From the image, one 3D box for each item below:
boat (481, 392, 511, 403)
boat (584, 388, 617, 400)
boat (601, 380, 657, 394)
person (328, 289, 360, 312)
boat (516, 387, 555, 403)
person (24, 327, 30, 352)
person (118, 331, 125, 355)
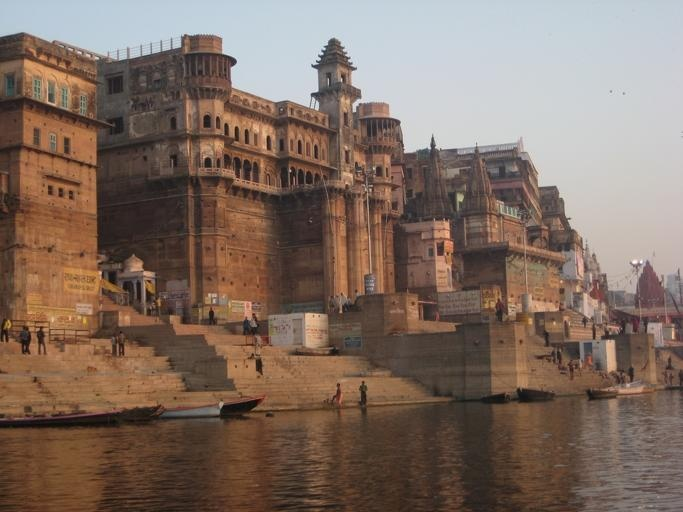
[{"bbox_3d":[8.137,7.329,65.896,1.575,0.684,2.151,-3,-11,6],"label":"boat"},{"bbox_3d":[14.773,7.697,71.388,0.713,0.610,2.949,-7,-14,42],"label":"boat"},{"bbox_3d":[17.431,7.854,76.925,0.813,0.633,3.500,-10,-10,41],"label":"boat"},{"bbox_3d":[0.108,3.057,84.779,1.705,1.072,1.268,-6,-7,41],"label":"person"},{"bbox_3d":[10.344,7.219,66.966,2.163,0.908,1.725,-1,-11,-5],"label":"boat"},{"bbox_3d":[-14.843,3.955,59.565,0.244,0.980,0.378,1,-11,-14],"label":"person"},{"bbox_3d":[-11.001,4.394,63.373,0.352,1.295,1.614,0,-11,-11],"label":"person"}]
